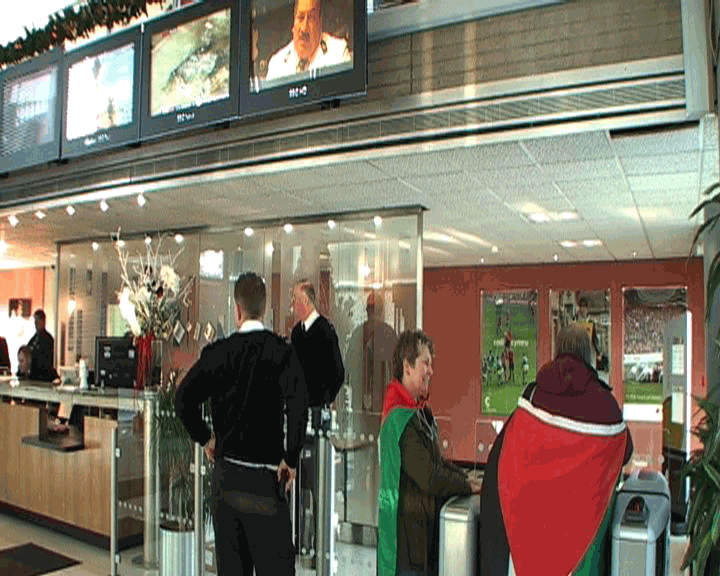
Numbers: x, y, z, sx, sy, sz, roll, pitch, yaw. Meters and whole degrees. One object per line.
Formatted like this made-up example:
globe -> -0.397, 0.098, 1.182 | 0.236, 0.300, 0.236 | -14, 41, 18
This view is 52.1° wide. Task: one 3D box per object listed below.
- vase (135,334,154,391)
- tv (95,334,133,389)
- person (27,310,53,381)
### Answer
vase -> -1.423, 0.487, 4.858 | 0.119, 0.375, 0.241 | 1, -6, -19
tv -> -1.654, 0.481, 4.975 | 0.275, 0.398, 0.038 | 4, 6, 28
person -> -2.487, 0.460, 5.756 | 0.203, 0.537, 0.748 | 1, -7, -25
